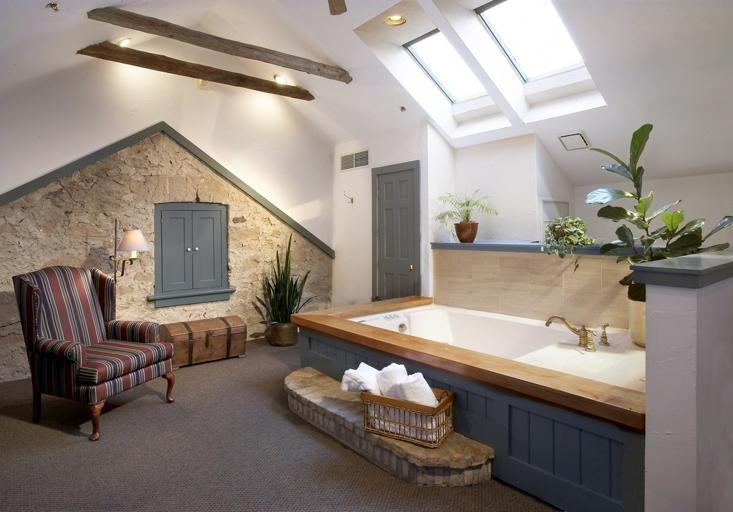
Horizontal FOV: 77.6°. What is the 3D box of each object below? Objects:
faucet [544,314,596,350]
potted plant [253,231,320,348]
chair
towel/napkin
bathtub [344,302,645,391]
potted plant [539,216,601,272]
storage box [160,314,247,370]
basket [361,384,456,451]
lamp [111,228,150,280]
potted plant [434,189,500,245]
[{"bbox_3d":[1.665,0.596,3.655,0.144,0.198,0.487,-6,4,-18],"label":"faucet"},{"bbox_3d":[-1.039,0.511,5.704,0.787,1.158,0.503,-3,3,-11],"label":"potted plant"},{"bbox_3d":[-2.269,0.705,3.813,1.039,1.134,1.025,3,5,-7],"label":"chair"},{"bbox_3d":[0.189,0.994,3.151,0.684,0.392,0.427,-2,-1,35],"label":"towel/napkin"},{"bbox_3d":[1.254,0.699,3.844,0.801,0.387,1.608,-4,6,-40],"label":"bathtub"},{"bbox_3d":[1.733,-0.091,3.895,0.438,0.311,0.444,-2,-3,44],"label":"potted plant"},{"bbox_3d":[-1.798,0.756,5.018,0.801,0.420,0.477,-4,13,-36],"label":"storage box"},{"bbox_3d":[0.287,1.062,3.139,0.569,0.329,0.355,0,3,31],"label":"basket"},{"bbox_3d":[-2.449,-0.002,4.713,0.389,0.583,0.266,-5,-9,-11],"label":"lamp"},{"bbox_3d":[1.069,-0.390,4.903,0.590,0.474,0.576,2,-1,-24],"label":"potted plant"}]
